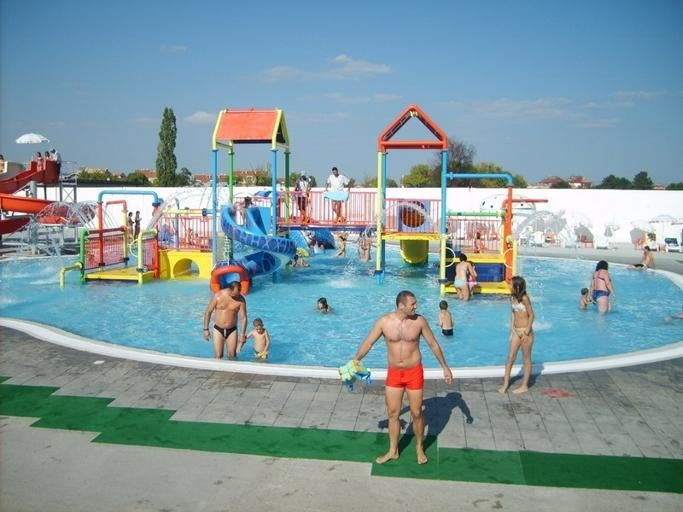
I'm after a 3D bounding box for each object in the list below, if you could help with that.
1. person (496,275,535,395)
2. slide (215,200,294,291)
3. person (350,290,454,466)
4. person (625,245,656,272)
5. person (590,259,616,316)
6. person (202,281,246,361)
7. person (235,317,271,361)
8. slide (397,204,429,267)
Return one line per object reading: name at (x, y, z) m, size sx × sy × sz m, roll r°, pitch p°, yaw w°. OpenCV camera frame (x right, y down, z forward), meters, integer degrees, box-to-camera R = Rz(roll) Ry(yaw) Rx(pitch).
person at (2.409, 1.029, 7.163) m, size 0.365 × 1.543 × 0.835 m, roll 5°, pitch 12°, yaw 22°
slide at (-2.801, -0.369, 16.149) m, size 2.069 × 2.775 × 3.040 m, roll -8°, pitch 13°, yaw -39°
person at (0.640, 1.219, 5.504) m, size 0.893 × 1.740 × 0.595 m, roll 0°, pitch 11°, yaw 2°
person at (11.019, -0.090, 19.255) m, size 1.252 × 0.921 × 0.776 m, roll -9°, pitch 14°, yaw -37°
person at (6.430, 0.671, 12.993) m, size 0.472 × 1.337 × 0.878 m, roll 4°, pitch 12°, yaw 20°
person at (-1.878, 1.177, 8.547) m, size 0.711 × 1.601 × 0.523 m, roll 5°, pitch 6°, yaw -4°
person at (-1.591, 1.479, 9.421) m, size 0.490 × 1.143 × 0.586 m, roll 7°, pitch 43°, yaw 9°
slide at (2.427, -1.330, 18.042) m, size 0.903 × 3.087 × 1.548 m, roll -3°, pitch 32°, yaw 4°
